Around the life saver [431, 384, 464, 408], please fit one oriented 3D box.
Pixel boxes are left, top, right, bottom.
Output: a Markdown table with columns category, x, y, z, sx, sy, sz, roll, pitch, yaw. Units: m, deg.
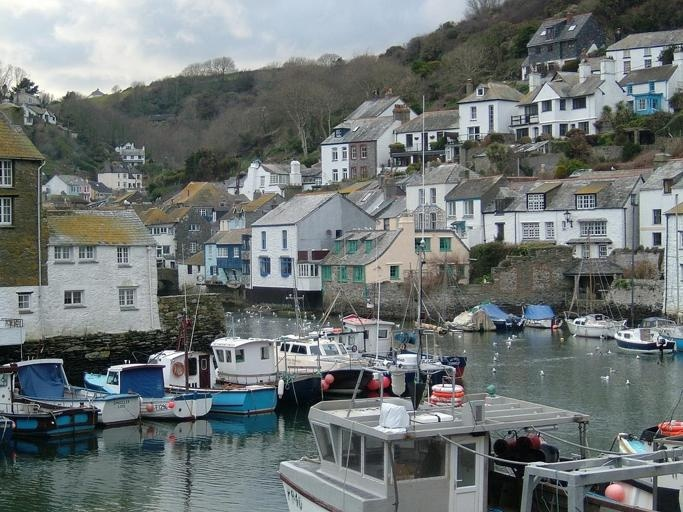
| category | x | y | z | sx | sy | sz | roll | pitch | yaw |
| --- | --- | --- | --- | --- | --- | --- | --- | --- | --- |
| life saver | 4.337 | 5.685 | 56.759 | 0.979 | 0.658 | 1.005 | 1 | -4 | -11 |

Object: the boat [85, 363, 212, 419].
| category | x | y | z | sx | sy | sz | roll | pitch | yaw |
| --- | --- | --- | --- | --- | --- | --- | --- | --- | --- |
| boat | -9.973 | 6.913 | 69.119 | 6.102 | 1.978 | 2.562 | 7 | 3 | 39 |
